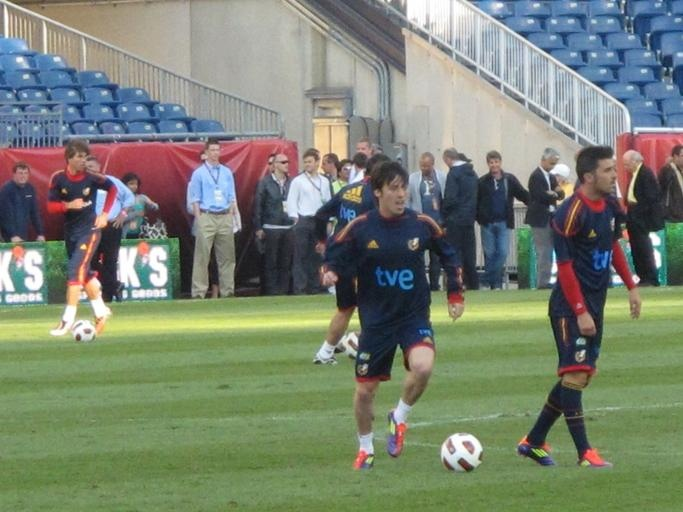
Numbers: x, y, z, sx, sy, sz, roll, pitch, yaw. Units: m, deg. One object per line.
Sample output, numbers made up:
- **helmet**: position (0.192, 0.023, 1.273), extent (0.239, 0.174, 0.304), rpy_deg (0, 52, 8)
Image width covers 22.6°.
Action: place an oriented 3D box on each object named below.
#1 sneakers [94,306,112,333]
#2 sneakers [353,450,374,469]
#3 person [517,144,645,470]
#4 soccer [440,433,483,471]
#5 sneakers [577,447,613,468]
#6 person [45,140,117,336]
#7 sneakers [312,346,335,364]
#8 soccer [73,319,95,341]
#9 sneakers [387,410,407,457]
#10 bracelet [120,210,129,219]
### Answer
- **sneakers**: position (-3.543, 0.871, 24.774), extent (0.167, 0.482, 0.197), rpy_deg (13, -26, 10)
- **sneakers**: position (0.252, 2.323, 19.673), extent (0.118, 0.135, 0.320), rpy_deg (-5, 8, 9)
- **person**: position (2.823, 0.551, 19.729), extent (1.235, 3.664, 0.686), rpy_deg (-2, 2, -33)
- **soccer**: position (1.382, 2.234, 19.644), extent (0.465, 0.424, 0.186), rpy_deg (-1, 2, 3)
- **sneakers**: position (2.903, 2.304, 19.607), extent (0.350, 0.159, 0.177), rpy_deg (2, -1, 8)
- **person**: position (-3.807, -0.273, 24.679), extent (0.966, 2.832, 0.701), rpy_deg (-1, 2, -10)
- **sneakers**: position (-0.280, 1.304, 22.854), extent (0.297, 0.281, 0.152), rpy_deg (-3, 23, -11)
- **soccer**: position (-3.720, 1.048, 24.367), extent (0.314, 0.308, 0.254), rpy_deg (8, -11, -31)
- **sneakers**: position (0.666, 2.052, 19.933), extent (0.190, 0.549, 0.248), rpy_deg (8, -12, -36)
- **bracelet**: position (-3.644, -0.700, 28.239), extent (0.106, 0.069, 0.108), rpy_deg (-9, 0, -2)
